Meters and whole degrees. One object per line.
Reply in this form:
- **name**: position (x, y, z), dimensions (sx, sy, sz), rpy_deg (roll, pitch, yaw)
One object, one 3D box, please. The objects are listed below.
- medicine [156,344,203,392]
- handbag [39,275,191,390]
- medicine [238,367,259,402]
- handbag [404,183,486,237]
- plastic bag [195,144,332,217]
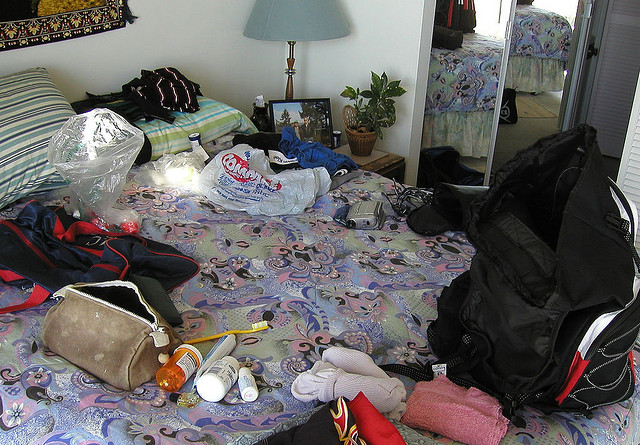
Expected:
- **medicine**: position (-0.460, 0.483, 1.449), dimensions (0.095, 0.093, 0.143), rpy_deg (17, 32, 27)
- **handbag**: position (-0.735, 0.348, 1.575), dimensions (0.502, 0.216, 0.309), rpy_deg (20, 23, 24)
- **medicine**: position (-0.231, 0.523, 1.416), dimensions (0.068, 0.060, 0.114), rpy_deg (-11, 23, -25)
- **handbag**: position (0.609, -0.063, 2.133), dimensions (0.356, 0.116, 0.231), rpy_deg (-16, 37, -7)
- **plastic bag**: position (-0.342, -0.259, 2.571), dimensions (0.864, 0.341, 0.583), rpy_deg (-2, 36, -10)
